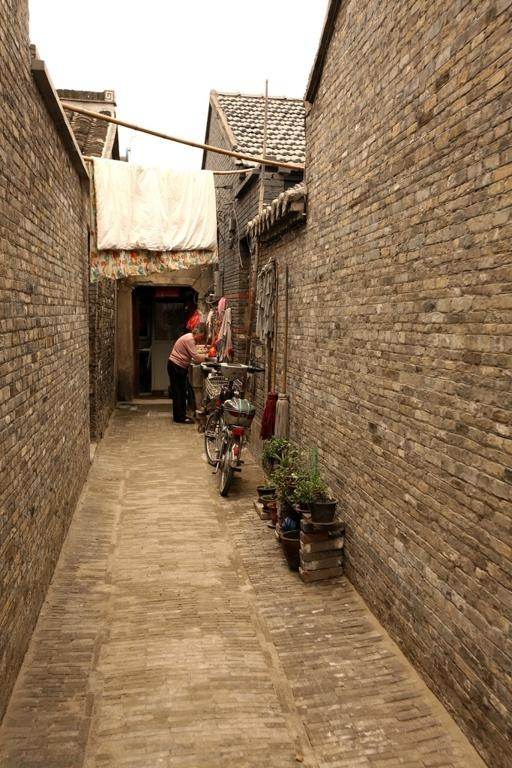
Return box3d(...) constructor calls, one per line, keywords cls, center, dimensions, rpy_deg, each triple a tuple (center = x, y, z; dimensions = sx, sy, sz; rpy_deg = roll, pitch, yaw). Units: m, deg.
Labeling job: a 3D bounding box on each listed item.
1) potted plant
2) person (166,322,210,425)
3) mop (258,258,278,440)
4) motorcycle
box3d(cls="potted plant", center=(0.508, 1.023, 4.332), dimensions=(0.533, 1.032, 0.600), rpy_deg=(-3, 9, -24))
box3d(cls="person", center=(-1.482, -0.349, 11.020), dimensions=(0.805, 2.328, 0.924), rpy_deg=(0, 6, -14))
box3d(cls="mop", center=(0.119, -0.619, 7.476), dimensions=(0.195, 2.330, 0.422), rpy_deg=(0, 9, -17))
box3d(cls="motorcycle", center=(-0.425, 0.495, 7.034), dimensions=(0.816, 1.569, 2.358), rpy_deg=(0, 9, -8))
